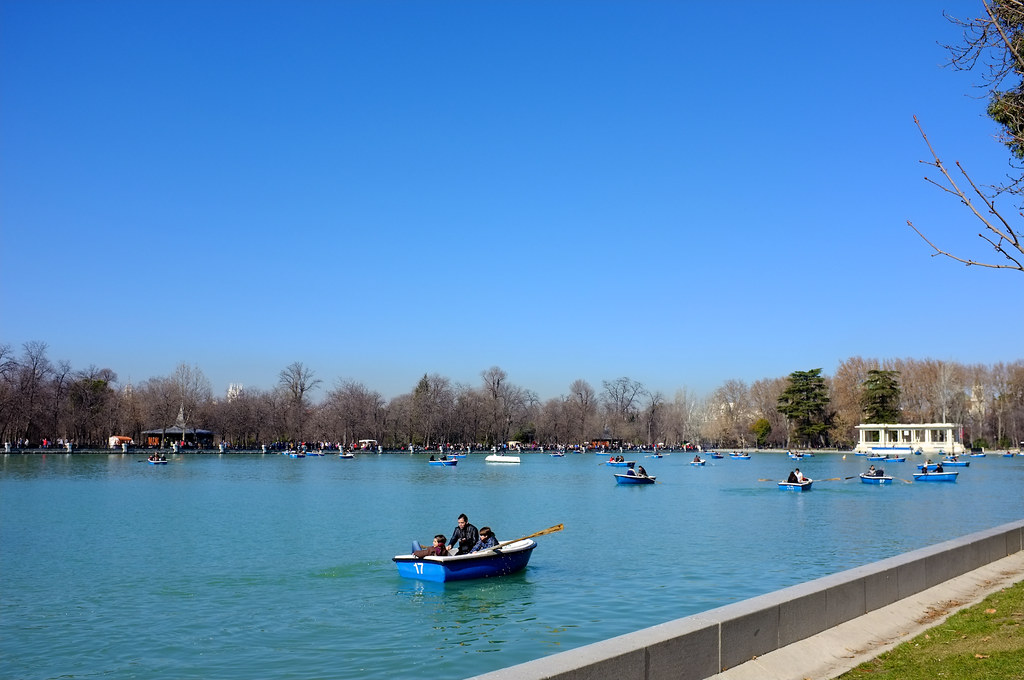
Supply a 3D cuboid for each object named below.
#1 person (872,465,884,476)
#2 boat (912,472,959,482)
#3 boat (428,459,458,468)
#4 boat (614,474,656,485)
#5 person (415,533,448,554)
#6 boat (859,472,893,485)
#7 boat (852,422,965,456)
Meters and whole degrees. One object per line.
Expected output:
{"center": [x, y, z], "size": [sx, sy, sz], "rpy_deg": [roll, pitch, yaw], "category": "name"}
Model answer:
{"center": [34.755, 12.557, 87.701], "size": [0.772, 0.767, 1.954], "rpy_deg": [-4, -9, 23], "category": "person"}
{"center": [42.751, 13.812, 93.340], "size": [4.062, 1.134, 4.789], "rpy_deg": [-4, -10, 23], "category": "boat"}
{"center": [-9.648, 17.611, 130.145], "size": [3.157, 0.736, 1.762], "rpy_deg": [-1, -7, 28], "category": "boat"}
{"center": [12.182, 13.463, 88.816], "size": [2.829, 0.652, 1.403], "rpy_deg": [2, -4, -2], "category": "boat"}
{"center": [-3.410, 8.860, 40.014], "size": [1.270, 0.628, 0.784], "rpy_deg": [-1, -5, -20], "category": "person"}
{"center": [34.632, 13.186, 87.807], "size": [2.569, 1.066, 2.202], "rpy_deg": [-4, -10, 23], "category": "boat"}
{"center": [62.637, 15.700, 146.179], "size": [13.449, 5.131, 8.147], "rpy_deg": [-1, -9, 3], "category": "boat"}
